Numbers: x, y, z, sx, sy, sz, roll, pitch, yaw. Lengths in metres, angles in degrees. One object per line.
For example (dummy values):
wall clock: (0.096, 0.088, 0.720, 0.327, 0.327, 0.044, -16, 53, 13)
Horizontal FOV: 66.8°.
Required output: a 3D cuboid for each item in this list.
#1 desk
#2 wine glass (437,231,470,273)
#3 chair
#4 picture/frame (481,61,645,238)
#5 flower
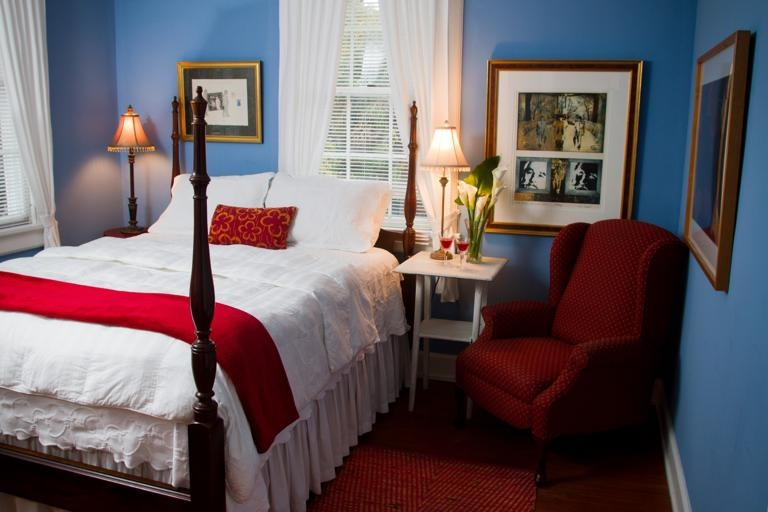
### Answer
desk: (0.460, 0.550, 4.299, 0.767, 0.953, 0.770, 8, 10, 34)
wine glass: (0.504, -0.035, 4.212, 0.167, 0.187, 0.276, -2, 6, -22)
chair: (1.194, 0.517, 3.844, 1.267, 1.470, 1.350, 8, 11, 39)
picture/frame: (1.345, -0.814, 4.246, 1.153, 1.502, 0.094, 4, 8, 8)
flower: (0.710, -0.401, 4.214, 0.260, 0.645, 0.358, -6, 15, -34)
